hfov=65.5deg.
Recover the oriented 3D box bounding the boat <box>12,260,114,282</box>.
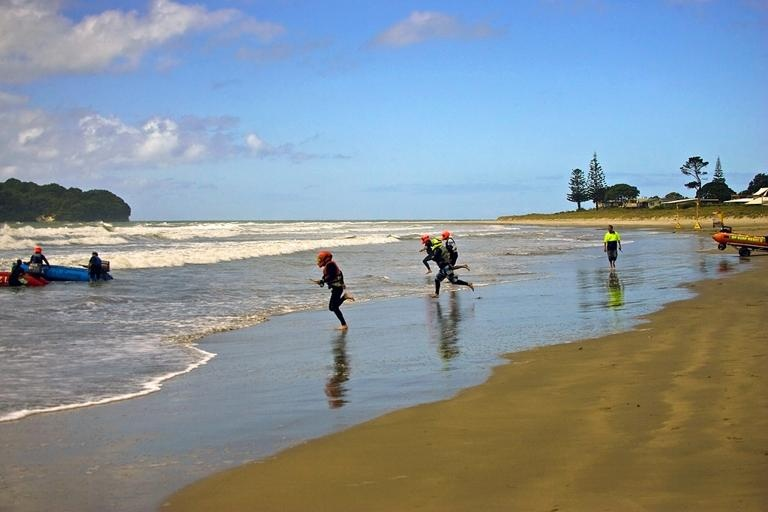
[{"bbox_3d":[-12.371,0.665,23.161,4.096,0.752,1.093,4,-4,-19],"label":"boat"}]

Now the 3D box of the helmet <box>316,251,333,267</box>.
[{"bbox_3d":[-1.383,0.080,14.209,0.296,0.356,0.528,-5,7,-3],"label":"helmet"}]

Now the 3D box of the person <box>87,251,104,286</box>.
[{"bbox_3d":[-11.132,0.411,23.035,0.564,1.099,0.748,-8,8,-23],"label":"person"}]

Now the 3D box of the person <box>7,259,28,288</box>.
[{"bbox_3d":[-13.489,0.705,21.913,0.261,0.767,0.654,13,-9,-26],"label":"person"}]

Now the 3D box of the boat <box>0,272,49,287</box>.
[{"bbox_3d":[-13.296,0.911,22.020,1.411,0.339,0.708,3,-3,-16],"label":"boat"}]

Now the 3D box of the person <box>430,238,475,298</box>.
[{"bbox_3d":[2.087,0.408,19.372,0.922,1.676,1.087,-5,7,4],"label":"person"}]
